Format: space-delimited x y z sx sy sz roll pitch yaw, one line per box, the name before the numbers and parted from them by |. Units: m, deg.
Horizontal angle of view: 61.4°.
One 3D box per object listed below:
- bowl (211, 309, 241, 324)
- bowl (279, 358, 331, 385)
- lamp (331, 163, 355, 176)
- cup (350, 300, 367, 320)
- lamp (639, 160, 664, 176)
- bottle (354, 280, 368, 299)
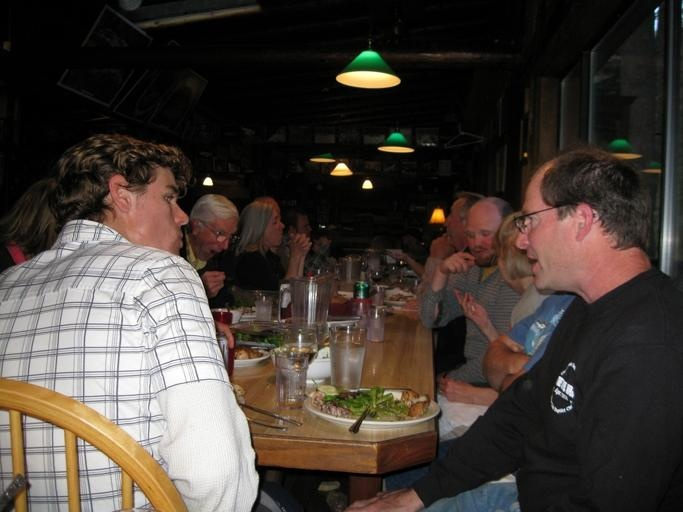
bowl | -0.520 0.270 2.507 0.130 0.043 0.118 1 -1 0
bowl | -0.101 0.417 2.099 0.106 0.061 0.096 2 3 16
lamp | 0.052 -1.341 9.019 0.392 0.159 0.348 -2 5 -13
cup | 0.077 0.273 2.862 0.104 0.092 0.093 1 0 -16
lamp | 1.448 -0.411 2.691 0.085 0.074 0.086 8 16 31
bottle | 0.086 0.163 2.894 0.093 0.068 0.082 -1 -7 13
